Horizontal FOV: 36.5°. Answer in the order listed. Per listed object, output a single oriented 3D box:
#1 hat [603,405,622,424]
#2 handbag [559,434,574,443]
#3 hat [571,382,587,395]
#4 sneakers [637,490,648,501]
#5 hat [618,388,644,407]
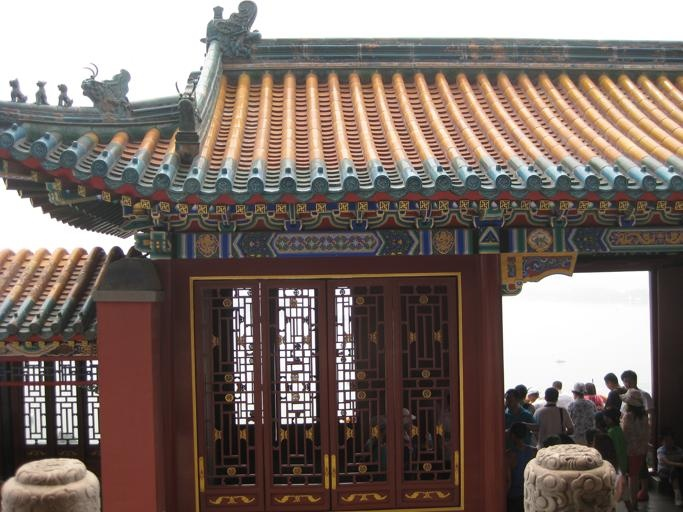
[{"bbox_3d":[3.519,2.066,13.430,0.152,0.221,0.214,-1,-2,7],"label":"hat"},{"bbox_3d":[2.849,2.317,13.130,0.144,0.156,0.131,8,-22,-14],"label":"handbag"},{"bbox_3d":[3.479,1.925,15.096,0.183,0.152,0.277,2,-11,8],"label":"hat"},{"bbox_3d":[3.970,3.169,13.615,0.143,0.063,0.071,-2,13,24],"label":"sneakers"},{"bbox_3d":[3.822,1.853,13.542,0.225,0.262,0.371,-5,-14,11],"label":"hat"}]
